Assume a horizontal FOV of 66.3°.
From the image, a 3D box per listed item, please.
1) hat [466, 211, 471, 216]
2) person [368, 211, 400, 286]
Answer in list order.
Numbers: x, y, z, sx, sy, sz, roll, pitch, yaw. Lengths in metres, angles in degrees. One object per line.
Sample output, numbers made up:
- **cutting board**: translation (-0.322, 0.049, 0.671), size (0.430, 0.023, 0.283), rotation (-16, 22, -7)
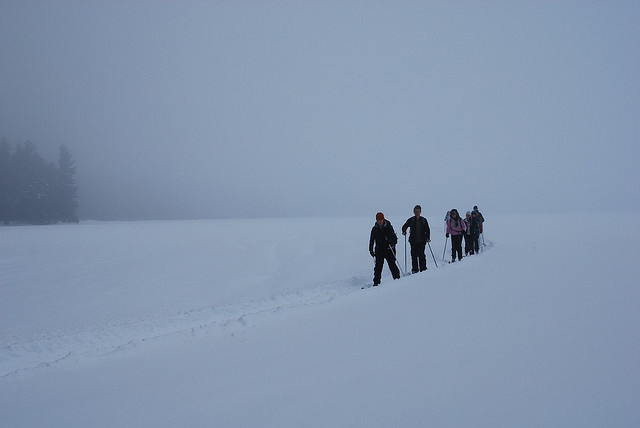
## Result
- **hat**: translation (6.512, -0.028, 21.545), size (0.164, 0.181, 0.180), rotation (2, 0, -2)
- **person**: translation (2.049, 1.099, 15.782), size (0.895, 2.304, 1.548), rotation (-5, 0, 8)
